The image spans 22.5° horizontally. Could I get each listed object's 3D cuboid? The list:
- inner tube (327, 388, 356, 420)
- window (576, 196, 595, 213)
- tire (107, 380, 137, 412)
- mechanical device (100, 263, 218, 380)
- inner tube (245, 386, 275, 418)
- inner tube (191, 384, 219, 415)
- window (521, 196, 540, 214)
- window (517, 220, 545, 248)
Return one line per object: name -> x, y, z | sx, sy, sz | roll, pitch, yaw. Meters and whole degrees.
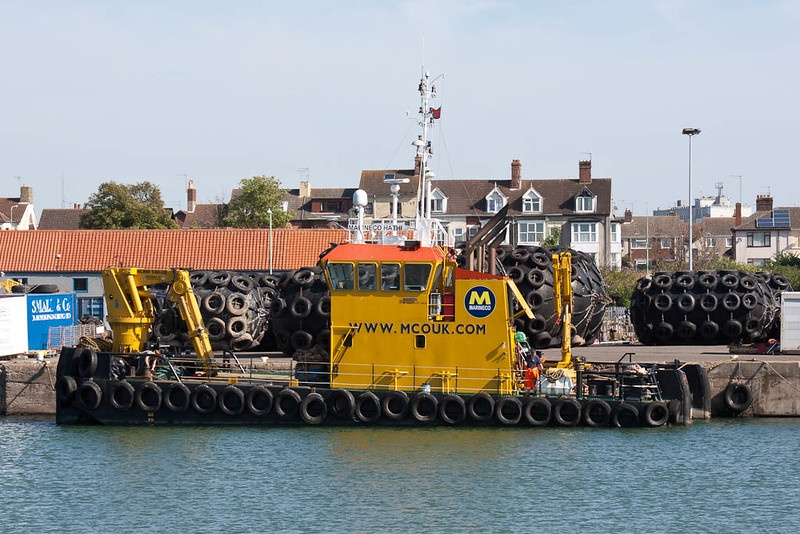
inner tube -> -2.230, 5.284, 75.800 | 1.196, 1.109, 0.424 | -4, -1, 22
window -> 10.982, -3.911, 119.658 | 1.116, 0.880, 0.111 | 0, -3, 3
tire -> -10.589, 4.977, 76.281 | 1.284, 1.273, 0.435 | 2, 4, 10
mechanical device -> -9.398, 2.287, 78.283 | 4.485, 3.772, 1.697 | 3, 3, -2
inner tube -> -5.339, 5.202, 76.035 | 1.198, 1.176, 0.637 | 3, 6, 0
inner tube -> -7.456, 5.109, 76.083 | 1.247, 1.157, 0.464 | 0, 6, 18
window -> 7.742, -3.866, 120.046 | 1.154, 1.010, 0.113 | 1, -3, 10
window -> 7.359, -2.005, 115.374 | 2.272, 1.942, 0.173 | -1, -1, -3
